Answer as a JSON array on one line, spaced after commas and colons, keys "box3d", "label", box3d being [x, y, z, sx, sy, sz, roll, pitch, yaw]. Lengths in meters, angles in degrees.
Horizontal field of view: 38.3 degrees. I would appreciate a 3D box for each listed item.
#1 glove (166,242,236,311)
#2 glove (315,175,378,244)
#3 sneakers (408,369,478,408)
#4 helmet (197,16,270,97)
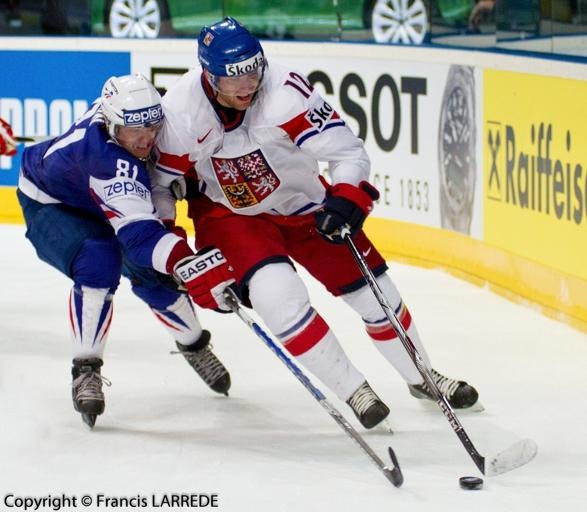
[{"box3d": [-0.300, 0.064, 3.093, 0.197, 0.268, 0.113, -40, 11, 24], "label": "glove"}, {"box3d": [0.198, -0.157, 3.111, 0.185, 0.242, 0.103, 38, -11, 15], "label": "glove"}, {"box3d": [0.641, 0.543, 3.446, 0.136, 0.165, 0.376, -2, -7, -19], "label": "sneakers"}, {"box3d": [-0.231, -0.732, 3.096, 0.212, 0.264, 0.294, -9, 14, -28], "label": "helmet"}]
